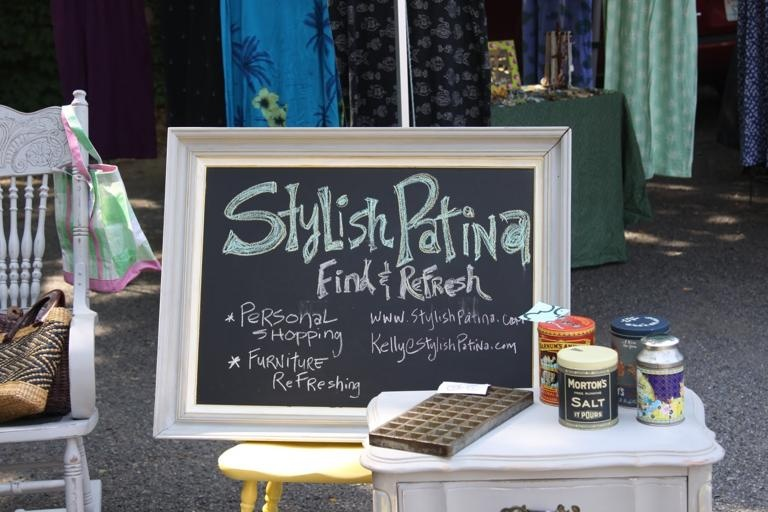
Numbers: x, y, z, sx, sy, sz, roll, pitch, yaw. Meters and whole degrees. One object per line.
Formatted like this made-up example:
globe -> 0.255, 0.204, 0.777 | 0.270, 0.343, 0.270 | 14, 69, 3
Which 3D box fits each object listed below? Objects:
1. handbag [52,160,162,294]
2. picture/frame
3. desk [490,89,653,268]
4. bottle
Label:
handbag -> -1.263, -0.104, 4.985 | 0.461, 0.644, 0.348 | -7, 16, -6
picture/frame -> -0.045, 0.102, 4.669 | 1.753, 1.270, 0.113 | 0, -4, -11
desk -> 1.287, -0.597, 7.561 | 0.846, 1.090, 1.180 | -8, 19, -21
bottle -> 0.884, 0.404, 4.391 | 0.505, 0.460, 0.361 | -1, 2, -38
